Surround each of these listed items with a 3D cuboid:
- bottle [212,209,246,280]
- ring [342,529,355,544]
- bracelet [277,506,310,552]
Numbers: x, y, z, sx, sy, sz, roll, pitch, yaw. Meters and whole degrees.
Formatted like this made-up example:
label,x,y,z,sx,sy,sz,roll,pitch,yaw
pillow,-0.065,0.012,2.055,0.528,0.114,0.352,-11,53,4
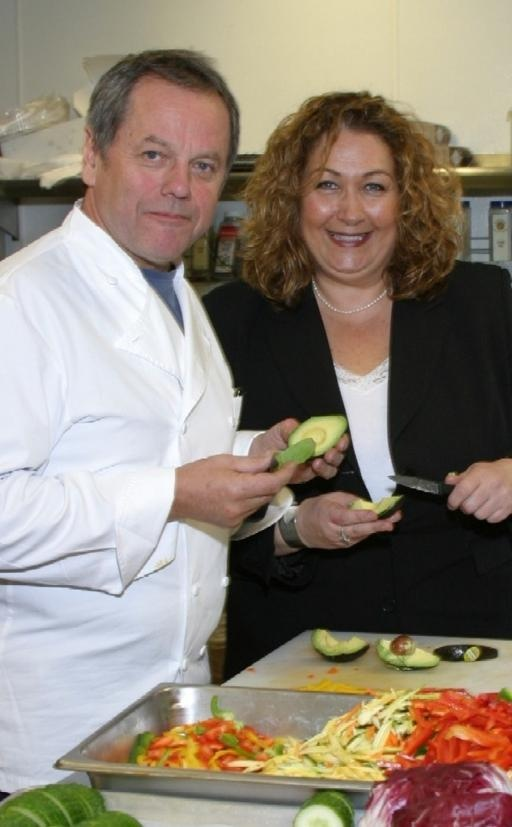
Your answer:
label,x,y,z,sx,sy,sz,roll,pitch,yaw
bottle,-0.118,-0.729,3.164,0.166,0.413,0.219,-1,13,0
ring,0.168,0.229,1.361,0.012,0.024,0.032,-36,2,-9
bracelet,0.068,0.239,1.497,0.048,0.069,0.081,-7,-26,-14
